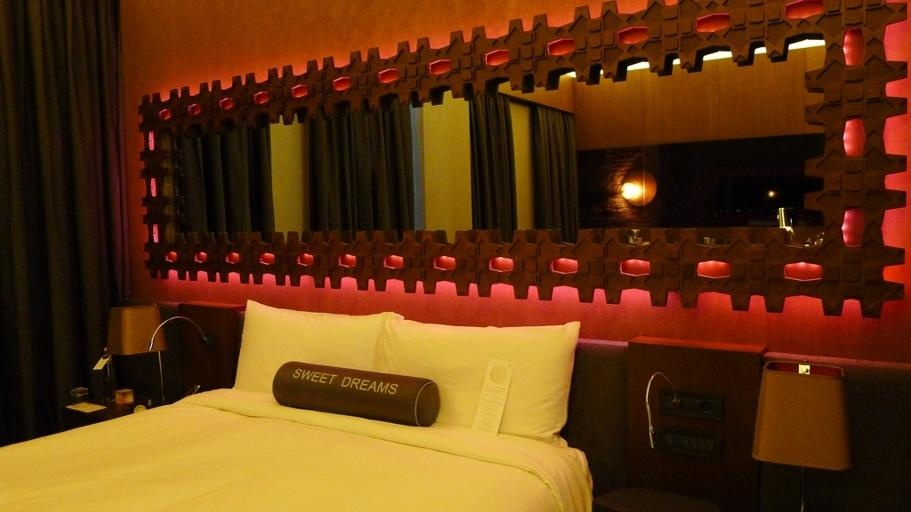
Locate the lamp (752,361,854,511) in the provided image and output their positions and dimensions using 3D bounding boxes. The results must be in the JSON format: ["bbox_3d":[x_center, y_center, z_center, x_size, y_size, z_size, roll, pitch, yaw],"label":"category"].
[{"bbox_3d":[1.644,0.772,3.222,0.423,0.457,0.136,-1,2,18],"label":"lamp"}]

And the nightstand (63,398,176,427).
[{"bbox_3d":[-2.386,0.943,4.601,0.233,0.298,0.439,5,5,41],"label":"nightstand"}]

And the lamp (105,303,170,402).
[{"bbox_3d":[-2.260,0.697,4.765,0.339,0.713,0.349,6,9,13],"label":"lamp"}]
